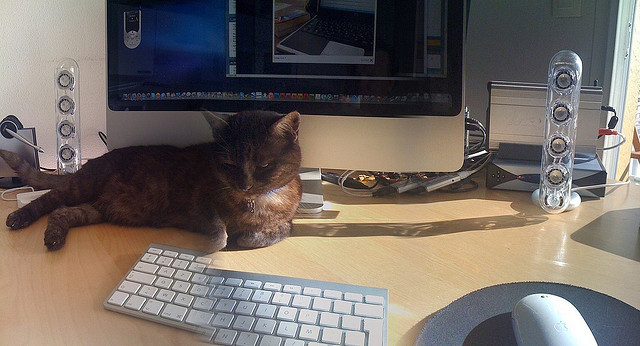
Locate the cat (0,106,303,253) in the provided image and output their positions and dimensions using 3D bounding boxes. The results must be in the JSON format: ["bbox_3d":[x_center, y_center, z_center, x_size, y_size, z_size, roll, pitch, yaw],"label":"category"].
[{"bbox_3d":[-0.426,0.014,1.254,0.817,0.328,0.391,4,22,-5],"label":"cat"}]
